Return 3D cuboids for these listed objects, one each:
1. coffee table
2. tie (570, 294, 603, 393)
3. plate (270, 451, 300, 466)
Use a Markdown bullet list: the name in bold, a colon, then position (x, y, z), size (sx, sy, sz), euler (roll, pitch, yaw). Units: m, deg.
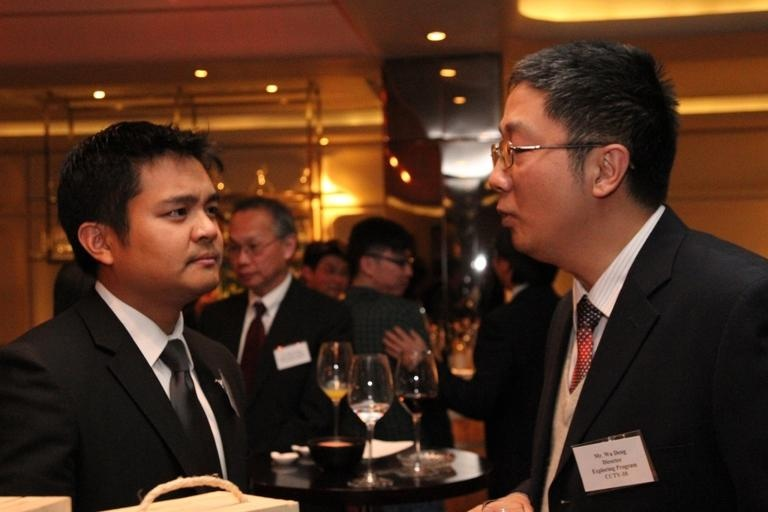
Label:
- **coffee table**: position (-0.035, 0.940, 3.236), size (1.018, 0.101, 0.453), euler (-3, 4, -8)
- **tie**: position (0.638, 0.268, 2.395), size (0.104, 0.291, 0.090), euler (3, 2, 30)
- **plate**: position (-0.433, 0.889, 3.424), size (0.079, 0.029, 0.076), euler (3, -5, -22)
